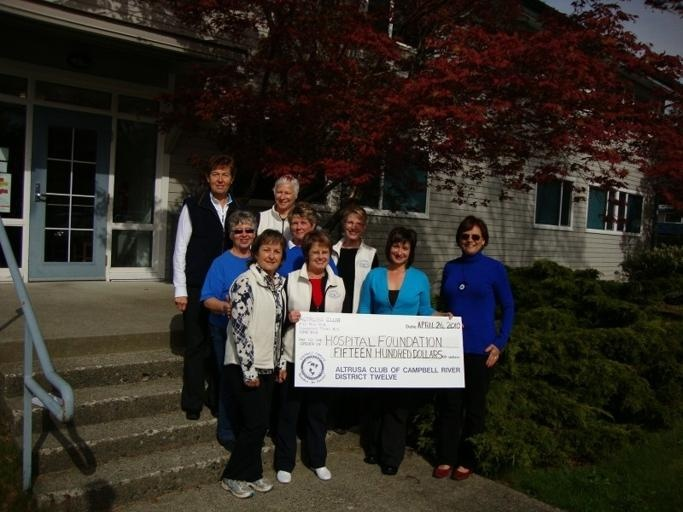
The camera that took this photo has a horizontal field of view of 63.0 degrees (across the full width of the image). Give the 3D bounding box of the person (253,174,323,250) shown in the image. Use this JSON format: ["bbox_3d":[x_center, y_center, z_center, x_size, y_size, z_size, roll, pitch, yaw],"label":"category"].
[{"bbox_3d":[-0.601,-0.269,5.782,0.542,1.093,0.369,2,-14,-9],"label":"person"}]

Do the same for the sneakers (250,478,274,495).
[{"bbox_3d":[-0.704,2.037,4.914,0.176,0.079,0.100,0,2,10],"label":"sneakers"}]

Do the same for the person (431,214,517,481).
[{"bbox_3d":[1.285,0.883,5.412,0.678,2.548,0.343,2,2,9],"label":"person"}]

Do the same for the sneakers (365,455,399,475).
[{"bbox_3d":[0.383,2.060,5.477,0.117,0.175,0.389,-5,-18,-33],"label":"sneakers"}]

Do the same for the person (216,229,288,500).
[{"bbox_3d":[-0.742,0.934,4.893,0.557,2.339,0.389,2,2,-18],"label":"person"}]

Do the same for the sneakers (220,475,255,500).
[{"bbox_3d":[-0.904,2.023,4.885,0.299,0.136,0.127,6,1,17],"label":"sneakers"}]

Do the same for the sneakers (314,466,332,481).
[{"bbox_3d":[-0.156,2.028,5.183,0.088,0.068,0.165,-1,-10,-30],"label":"sneakers"}]
